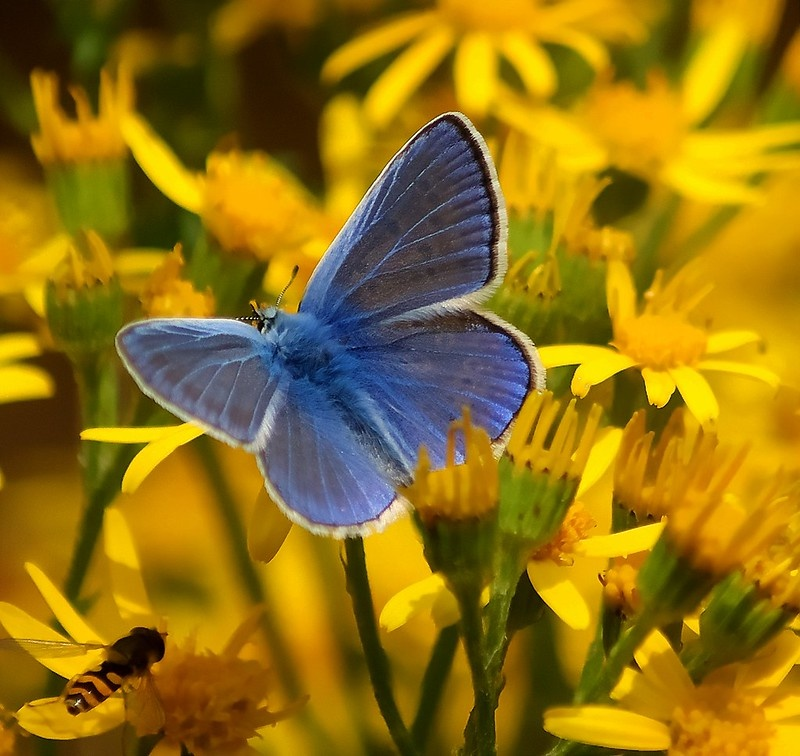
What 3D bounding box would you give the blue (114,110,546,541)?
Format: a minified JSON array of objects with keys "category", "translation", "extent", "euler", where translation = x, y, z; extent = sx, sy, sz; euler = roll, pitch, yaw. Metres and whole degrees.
[{"category":"blue","translation":[-0.034,-0.044,0.749],"extent":[0.270,0.243,0.174],"euler":[13,30,7]}]
